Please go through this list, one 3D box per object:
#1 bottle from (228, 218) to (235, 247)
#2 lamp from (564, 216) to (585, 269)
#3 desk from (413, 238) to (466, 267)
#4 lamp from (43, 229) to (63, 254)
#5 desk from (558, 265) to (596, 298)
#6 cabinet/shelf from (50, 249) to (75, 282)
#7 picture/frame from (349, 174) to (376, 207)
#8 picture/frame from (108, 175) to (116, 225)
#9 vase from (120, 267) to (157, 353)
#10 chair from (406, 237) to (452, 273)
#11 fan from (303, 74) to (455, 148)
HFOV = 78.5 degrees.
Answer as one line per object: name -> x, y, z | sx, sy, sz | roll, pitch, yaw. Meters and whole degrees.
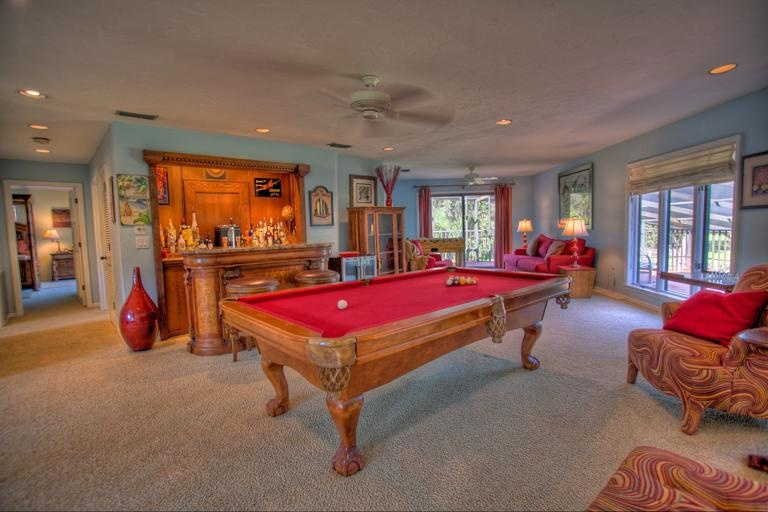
bottle -> -2.276, -0.356, 6.967 | 0.109, 0.408, 0.518 | -4, 4, -17
lamp -> 3.505, -0.293, 8.615 | 0.328, 0.847, 1.183 | -1, 4, 21
desk -> 1.370, 0.119, 10.877 | 1.127, 0.759, 0.713 | -1, -1, 9
lamp -> -8.185, -0.394, 11.612 | 0.485, 0.795, 0.482 | -1, 7, -34
desk -> 3.518, 0.482, 8.093 | 0.685, 0.474, 0.651 | 6, -4, -12
cabinet/shelf -> -7.963, 0.228, 11.544 | 0.489, 0.731, 0.824 | 1, 2, 43
picture/frame -> -0.406, -1.167, 8.362 | 0.051, 0.546, 0.672 | 1, 3, 44
picture/frame -> -3.545, -0.726, 6.107 | 0.066, 0.619, 0.422 | -5, 5, -30
vase -> -3.058, 0.658, 5.809 | 0.407, 1.030, 0.252 | -5, 5, -27
chair -> 0.846, -0.013, 9.315 | 0.885, 0.883, 0.706 | -3, 0, 20
fan -> 0.117, -1.756, 5.796 | 1.472, 0.392, 2.030 | -2, 3, 9
